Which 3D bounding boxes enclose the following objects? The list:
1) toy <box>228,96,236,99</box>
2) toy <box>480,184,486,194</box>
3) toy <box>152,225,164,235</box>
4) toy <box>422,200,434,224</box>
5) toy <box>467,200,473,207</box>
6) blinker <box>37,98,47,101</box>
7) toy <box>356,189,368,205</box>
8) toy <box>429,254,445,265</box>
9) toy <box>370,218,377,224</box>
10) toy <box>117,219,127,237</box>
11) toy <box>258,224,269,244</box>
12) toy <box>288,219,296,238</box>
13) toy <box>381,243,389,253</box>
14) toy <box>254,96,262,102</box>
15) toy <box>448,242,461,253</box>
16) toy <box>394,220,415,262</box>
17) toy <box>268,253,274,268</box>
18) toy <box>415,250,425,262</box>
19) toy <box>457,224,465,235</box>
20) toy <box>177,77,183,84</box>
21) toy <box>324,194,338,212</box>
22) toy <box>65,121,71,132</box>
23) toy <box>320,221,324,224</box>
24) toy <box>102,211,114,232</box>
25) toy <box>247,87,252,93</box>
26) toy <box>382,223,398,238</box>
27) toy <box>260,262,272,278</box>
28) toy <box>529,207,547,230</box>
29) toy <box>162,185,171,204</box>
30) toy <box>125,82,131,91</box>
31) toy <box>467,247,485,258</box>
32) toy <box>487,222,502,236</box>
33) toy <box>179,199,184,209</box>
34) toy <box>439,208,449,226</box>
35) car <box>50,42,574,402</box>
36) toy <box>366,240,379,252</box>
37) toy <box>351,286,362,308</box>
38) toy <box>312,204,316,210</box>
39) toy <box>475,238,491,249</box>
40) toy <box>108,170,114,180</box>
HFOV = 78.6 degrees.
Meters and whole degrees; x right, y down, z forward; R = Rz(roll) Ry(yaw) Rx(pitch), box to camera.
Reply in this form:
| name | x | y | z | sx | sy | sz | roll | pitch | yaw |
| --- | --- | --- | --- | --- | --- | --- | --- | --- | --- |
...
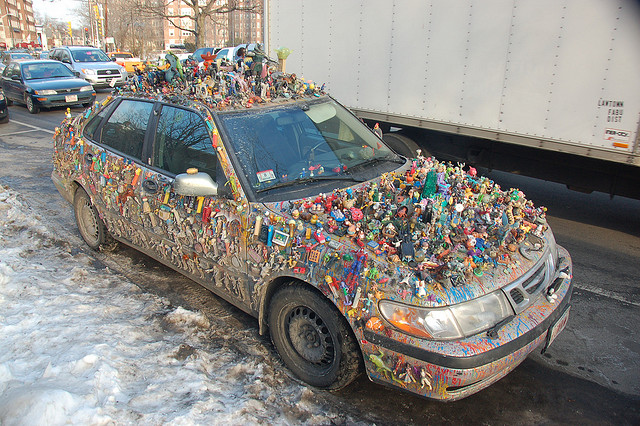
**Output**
| name | x | y | z | sx | sy | sz | roll | pitch | yaw |
| --- | --- | --- | --- | --- | --- | --- | --- | --- | --- |
| toy | -1.073 | -1.400 | 4.730 | 0.045 | 0.013 | 0.045 | -1 | 28 | -12 |
| toy | 1.846 | -0.273 | 4.405 | 0.047 | 0.049 | 0.177 | -26 | 17 | 37 |
| toy | -2.018 | 0.212 | 4.858 | 0.123 | 0.095 | 0.046 | 10 | 35 | 34 |
| toy | 1.067 | 0.008 | 3.859 | 0.101 | 0.149 | 0.171 | 7 | 20 | 4 |
| toy | 1.598 | -0.107 | 4.148 | 0.056 | 0.044 | 0.074 | 11 | 21 | 13 |
| blinker | -11.682 | -4.759 | 16.353 | 0.385 | 0.131 | 0.067 | 5 | 20 | -3 |
| toy | 0.442 | -0.169 | 4.099 | 0.094 | 0.057 | 0.139 | -5 | 57 | 23 |
| toy | 1.076 | 0.435 | 3.594 | 0.083 | 0.028 | 0.089 | 23 | 37 | 2 |
| toy | 0.515 | 0.079 | 3.781 | 0.033 | 0.011 | 0.031 | 22 | 43 | 33 |
| toy | -2.738 | 0.193 | 5.379 | 0.069 | 0.093 | 0.267 | -11 | 66 | -42 |
| toy | -0.584 | 0.213 | 4.003 | 0.114 | 0.165 | 0.048 | 8 | 8 | 27 |
| toy | -0.281 | 0.160 | 3.897 | 0.061 | 0.154 | 0.090 | -7 | 23 | -31 |
| toy | 0.600 | 0.323 | 3.661 | 0.050 | 0.069 | 0.051 | 7 | 20 | 4 |
| toy | -0.772 | -1.403 | 4.813 | 0.069 | 0.023 | 0.072 | -2 | 46 | -14 |
| toy | 1.282 | 0.334 | 3.681 | 0.053 | 0.060 | 0.201 | 23 | 26 | 40 |
| toy | 0.804 | 0.302 | 3.713 | 0.146 | 0.089 | 0.276 | -15 | 67 | -8 |
| toy | -0.498 | 0.474 | 3.982 | 0.052 | 0.102 | 0.024 | 2 | -4 | 30 |
| toy | 0.914 | 0.397 | 3.584 | 0.090 | 0.071 | 0.088 | 11 | 21 | 15 |
| toy | 1.392 | 0.155 | 3.841 | 0.065 | 0.071 | 0.104 | 13 | 21 | 20 |
| toy | -1.855 | -1.750 | 5.159 | 0.074 | 0.078 | 0.024 | 1 | 4 | 24 |
| toy | 0.103 | -0.109 | 3.988 | 0.132 | 0.141 | 0.059 | -2 | -26 | 16 |
| toy | -4.002 | -1.368 | 6.214 | 0.122 | 0.123 | 0.032 | 30 | 0 | 36 |
| toy | 0.020 | 0.093 | 3.846 | 0.028 | 0.022 | 0.056 | 23 | 26 | 39 |
| toy | -3.042 | 0.101 | 5.579 | 0.196 | 0.208 | 0.194 | -22 | 2 | 24 |
| toy | -0.891 | -1.550 | 4.923 | 0.043 | 0.047 | 0.067 | 21 | 22 | 0 |
| toy | 0.659 | 0.174 | 3.716 | 0.090 | 0.048 | 0.131 | 7 | 57 | 11 |
| toy | -0.570 | 0.591 | 4.039 | 0.084 | 0.150 | 0.141 | -2 | 26 | -27 |
| toy | 2.412 | 0.063 | 4.321 | 0.177 | 0.071 | 0.187 | 3 | 23 | 27 |
| toy | -1.826 | -0.229 | 4.642 | 0.066 | 0.325 | 0.068 | 16 | 24 | -9 |
| toy | -2.746 | -1.800 | 5.562 | 0.041 | 0.130 | 0.124 | -23 | 24 | -31 |
| toy | 1.505 | 0.370 | 3.734 | 0.111 | 0.047 | 0.105 | -16 | 24 | -35 |
| toy | 1.754 | 0.170 | 3.911 | 0.102 | 0.100 | 0.034 | 60 | 16 | 23 |
| toy | -1.605 | -0.114 | 4.535 | 0.079 | 0.085 | 0.022 | 2 | -3 | 40 |
| toy | 1.236 | 0.040 | 3.887 | 0.088 | 0.046 | 0.169 | 4 | 54 | 13 |
| car | -0.637 | 0.313 | 5.274 | 6.689 | 2.555 | 3.318 | 26 | 47 | 27 |
| toy | 0.493 | 0.305 | 3.661 | 0.077 | 0.050 | 0.079 | 28 | 40 | 36 |
| toy | 0.342 | 0.765 | 3.556 | 0.054 | 0.194 | 0.067 | 12 | 21 | 19 |
| toy | -0.059 | -0.055 | 3.925 | 0.039 | 0.042 | 0.073 | 7 | 9 | -3 |
| toy | 1.579 | 0.296 | 3.782 | 0.078 | 0.038 | 0.122 | -25 | 36 | -31 |
| toy | -2.826 | -0.519 | 5.257 | 0.087 | 0.127 | 0.037 | 1 | -4 | 18 |
